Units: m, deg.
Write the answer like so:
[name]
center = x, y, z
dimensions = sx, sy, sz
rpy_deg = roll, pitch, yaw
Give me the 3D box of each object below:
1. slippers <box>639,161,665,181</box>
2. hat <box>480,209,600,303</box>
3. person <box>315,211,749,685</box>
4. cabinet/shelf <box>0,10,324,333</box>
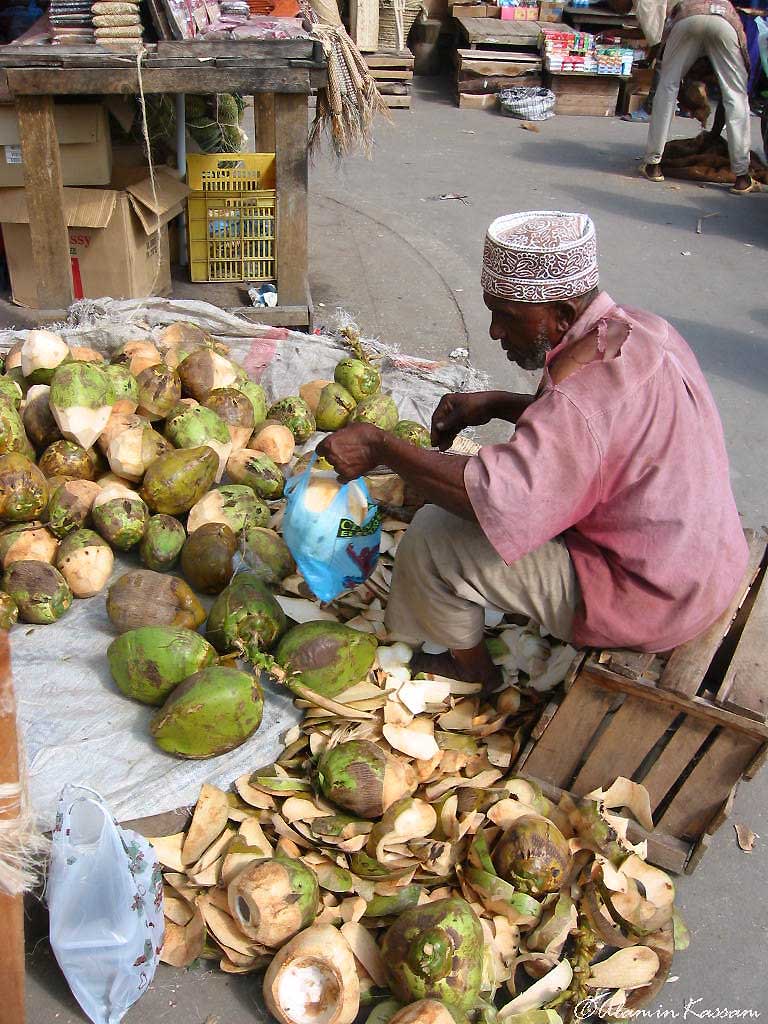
[slippers]
center = 2.630, -3.325, 8.080
dimensions = 0.140, 0.175, 0.264
rpy_deg = 2, 56, 5
[hat]
center = 0.348, -0.580, 1.936
dimensions = 0.262, 0.141, 0.237
rpy_deg = -9, 34, -5
[person]
center = 0.390, -0.015, 1.992
dimensions = 0.686, 1.259, 0.838
rpy_deg = -23, 43, -39
[cabinet/shelf]
center = -1.005, -1.828, 4.464
dimensions = 1.574, 1.303, 1.374
rpy_deg = -3, 50, -4
